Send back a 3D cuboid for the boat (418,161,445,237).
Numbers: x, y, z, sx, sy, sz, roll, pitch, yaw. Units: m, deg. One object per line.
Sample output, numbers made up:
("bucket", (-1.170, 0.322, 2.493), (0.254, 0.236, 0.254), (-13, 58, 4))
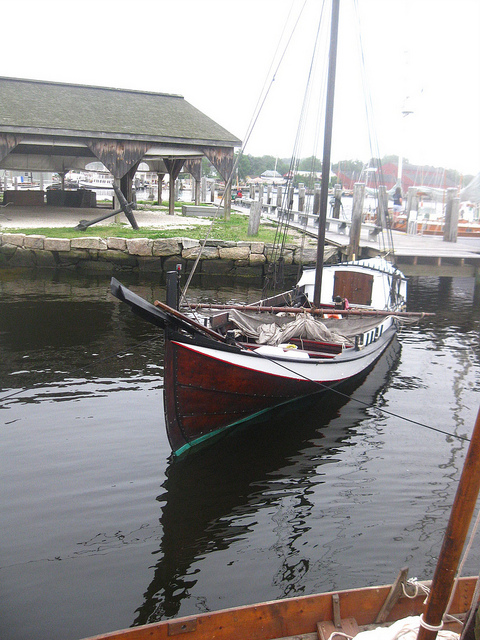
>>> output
("boat", (10.229, -5.877, 37.345), (1.224, 2.280, 16.868), (6, 9, 14))
